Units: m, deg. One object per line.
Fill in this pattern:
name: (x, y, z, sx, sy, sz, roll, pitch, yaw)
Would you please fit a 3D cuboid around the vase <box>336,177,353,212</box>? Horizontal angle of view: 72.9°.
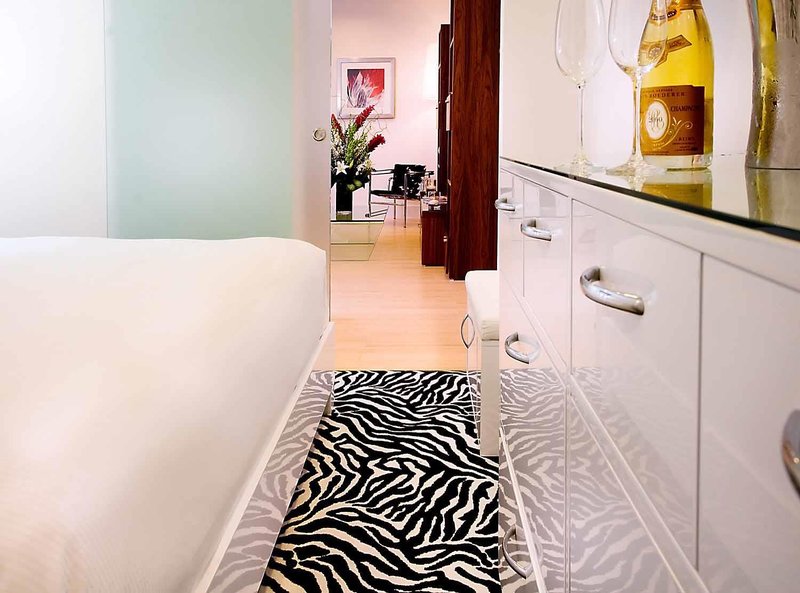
vase: (-0.624, -1.095, 5.856, 0.144, 0.368, 0.246, -3, 15, -10)
